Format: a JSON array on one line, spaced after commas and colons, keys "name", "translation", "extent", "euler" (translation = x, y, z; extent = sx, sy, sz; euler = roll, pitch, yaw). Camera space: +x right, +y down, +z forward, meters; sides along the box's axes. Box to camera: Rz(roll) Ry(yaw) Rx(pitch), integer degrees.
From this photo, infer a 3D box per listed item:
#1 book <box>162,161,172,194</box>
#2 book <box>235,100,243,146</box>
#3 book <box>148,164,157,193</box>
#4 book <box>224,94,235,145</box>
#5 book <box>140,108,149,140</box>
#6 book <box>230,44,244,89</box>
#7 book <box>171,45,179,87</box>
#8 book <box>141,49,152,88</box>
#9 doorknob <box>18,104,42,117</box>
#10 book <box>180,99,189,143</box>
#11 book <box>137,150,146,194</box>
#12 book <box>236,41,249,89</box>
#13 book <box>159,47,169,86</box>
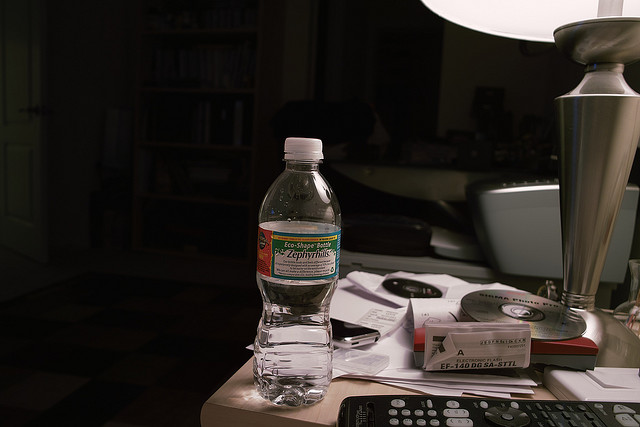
[{"name": "book", "translation": [-0.455, -0.105, 1.489], "extent": [0.020, 0.091, 0.025], "euler": [-6, 19, -17]}, {"name": "book", "translation": [-0.237, -0.264, 1.459], "extent": [0.026, 0.129, 0.024], "euler": [-1, 18, -1]}, {"name": "book", "translation": [-0.499, -0.104, 1.490], "extent": [0.030, 0.083, 0.015], "euler": [0, 18, 2]}, {"name": "book", "translation": [-0.264, -0.275, 1.459], "extent": [0.036, 0.138, 0.024], "euler": [-4, 18, -9]}, {"name": "book", "translation": [-0.515, -0.262, 1.468], "extent": [0.016, 0.087, 0.029], "euler": [13, 23, 36]}, {"name": "book", "translation": [-0.250, -0.428, 1.460], "extent": [0.027, 0.124, 0.028], "euler": [-1, 22, -35]}, {"name": "book", "translation": [-0.421, -0.426, 1.448], "extent": [0.024, 0.116, 0.029], "euler": [-1, 18, 0]}, {"name": "book", "translation": [-0.504, -0.420, 1.452], "extent": [0.032, 0.106, 0.028], "euler": [1, 18, 6]}, {"name": "doorknob", "translation": [-0.827, -0.296, 1.441], "extent": [0.061, 0.032, 0.033], "euler": [-1, 1, -3]}, {"name": "book", "translation": [-0.397, -0.270, 1.462], "extent": [0.018, 0.121, 0.030], "euler": [9, 20, 26]}, {"name": "book", "translation": [-0.530, -0.125, 1.486], "extent": [0.019, 0.125, 0.031], "euler": [11, 21, 32]}, {"name": "book", "translation": [-0.222, -0.422, 1.437], "extent": [0.025, 0.132, 0.028], "euler": [4, 14, -34]}, {"name": "book", "translation": [-0.457, -0.424, 1.453], "extent": [0.020, 0.104, 0.029], "euler": [7, 20, 22]}]
